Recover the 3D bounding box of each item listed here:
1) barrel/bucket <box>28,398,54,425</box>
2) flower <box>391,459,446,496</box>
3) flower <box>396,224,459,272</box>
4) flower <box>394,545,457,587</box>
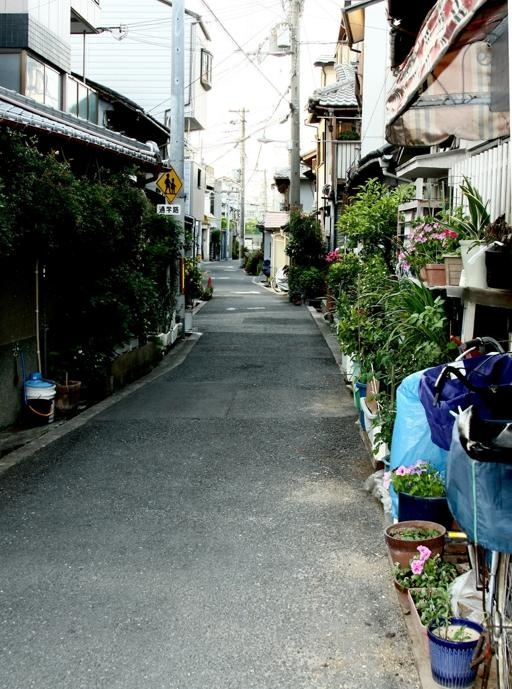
[{"bbox_3d":[-2.774,0.866,8.408,0.324,0.346,0.180,2,1,-10],"label":"barrel/bucket"},{"bbox_3d":[1.035,0.882,4.308,0.363,0.185,0.293,1,7,25],"label":"flower"},{"bbox_3d":[1.647,-0.922,6.256,0.438,0.558,0.521,11,15,40],"label":"flower"},{"bbox_3d":[0.921,1.258,3.609,0.284,0.130,0.340,-1,-4,1],"label":"flower"}]
